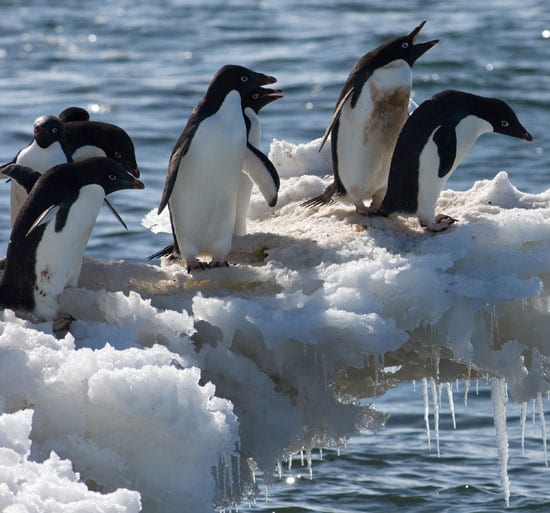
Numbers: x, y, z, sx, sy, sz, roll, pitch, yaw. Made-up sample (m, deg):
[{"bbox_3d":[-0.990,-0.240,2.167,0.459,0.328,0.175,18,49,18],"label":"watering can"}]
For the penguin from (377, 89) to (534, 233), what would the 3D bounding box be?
[{"bbox_3d":[1.003,-0.532,7.354,0.761,0.810,0.303,0,15,4],"label":"penguin"}]
